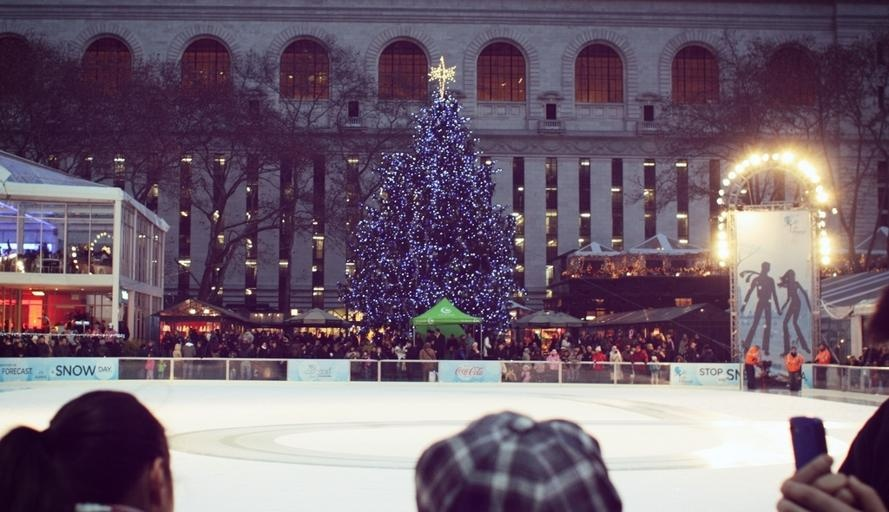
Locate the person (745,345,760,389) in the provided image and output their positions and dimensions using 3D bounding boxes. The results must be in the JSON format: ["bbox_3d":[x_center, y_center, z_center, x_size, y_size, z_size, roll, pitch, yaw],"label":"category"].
[{"bbox_3d":[21.300,7.610,81.163,1.143,3.021,1.012,0,-5,-2],"label":"person"}]
